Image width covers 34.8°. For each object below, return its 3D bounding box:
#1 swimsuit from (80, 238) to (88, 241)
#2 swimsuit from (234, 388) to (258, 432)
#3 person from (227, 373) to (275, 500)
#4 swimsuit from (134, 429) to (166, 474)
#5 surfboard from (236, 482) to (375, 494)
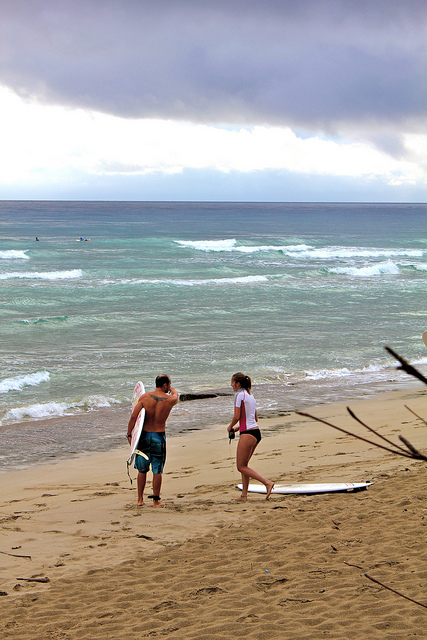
[{"bbox_3d":[-12.273,-7.668,64.717,0.582,0.270,1.370,-6,0,-9],"label":"swimsuit"},{"bbox_3d":[0.352,0.965,7.384,0.198,0.454,0.213,-7,1,3],"label":"swimsuit"},{"bbox_3d":[0.400,1.311,7.996,0.463,1.354,1.816,-7,1,3],"label":"person"},{"bbox_3d":[-0.692,1.436,7.419,0.352,0.484,0.179,-7,1,-7],"label":"swimsuit"},{"bbox_3d":[1.073,1.869,7.596,0.950,0.117,0.214,-4,0,15],"label":"surfboard"}]
